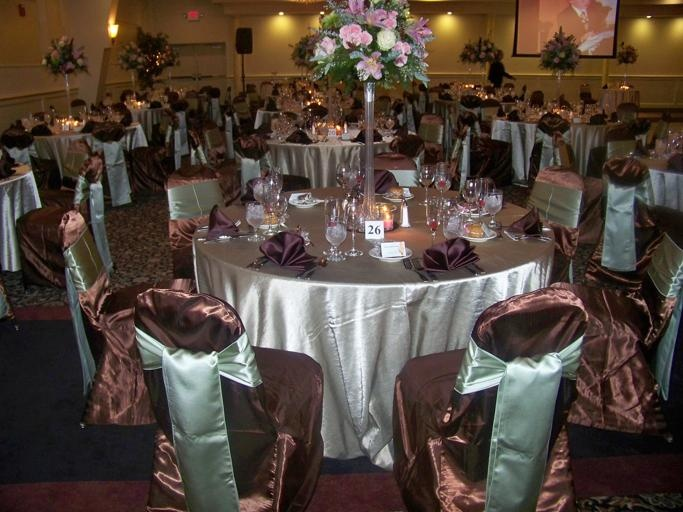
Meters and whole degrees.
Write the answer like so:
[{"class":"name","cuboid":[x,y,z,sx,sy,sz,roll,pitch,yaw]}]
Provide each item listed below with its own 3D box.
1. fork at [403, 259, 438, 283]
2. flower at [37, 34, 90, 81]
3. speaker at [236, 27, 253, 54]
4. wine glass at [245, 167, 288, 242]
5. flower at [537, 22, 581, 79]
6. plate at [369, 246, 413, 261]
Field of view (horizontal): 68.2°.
[{"class":"fork","cuboid":[0.354,0.069,2.281,0.054,0.014,0.218,-12,23,-10]},{"class":"flower","cuboid":[-4.181,-3.056,7.648,0.510,0.610,0.585,-12,17,-39]},{"class":"speaker","cuboid":[-2.241,-4.992,11.642,0.363,0.623,0.806,-4,14,-11]},{"class":"wine glass","cuboid":[-0.434,-0.315,2.902,0.167,0.227,0.542,2,27,1]},{"class":"flower","cuboid":[3.463,-3.268,8.032,0.522,0.772,0.532,-11,16,-36]},{"class":"plate","cuboid":[0.237,-0.015,2.445,0.217,0.056,0.161,0,14,7]}]
